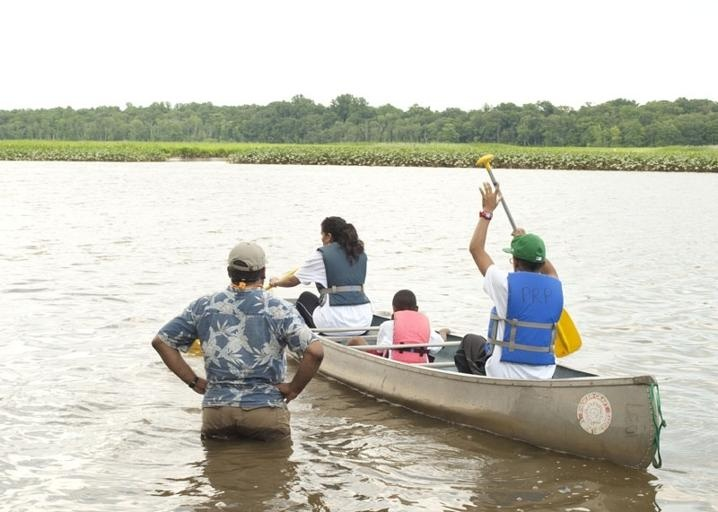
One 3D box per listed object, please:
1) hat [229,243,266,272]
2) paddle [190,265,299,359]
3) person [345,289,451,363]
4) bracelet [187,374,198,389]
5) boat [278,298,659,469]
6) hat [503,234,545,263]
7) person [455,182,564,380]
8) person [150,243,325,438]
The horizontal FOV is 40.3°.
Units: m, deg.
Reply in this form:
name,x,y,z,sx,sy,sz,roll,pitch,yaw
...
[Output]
name,x,y,z,sx,sy,sz,roll,pitch,yaw
hat,-1.140,0.001,10.060,0.400,0.285,0.257,-2,11,-11
paddle,-1.597,0.883,13.662,0.751,0.603,2.244,28,36,25
person,0.472,0.837,11.995,1.790,0.875,0.888,0,17,-9
bracelet,-1.761,1.303,10.154,0.096,0.119,0.136,27,21,16
boat,0.956,1.310,11.577,5.404,0.718,1.203,12,7,37
hat,1.748,-0.105,10.455,0.308,0.177,0.408,-2,14,-21
person,1.607,0.304,10.574,1.029,2.193,0.720,10,17,42
person,-1.205,0.933,10.078,1.661,2.111,0.393,-1,13,-1
